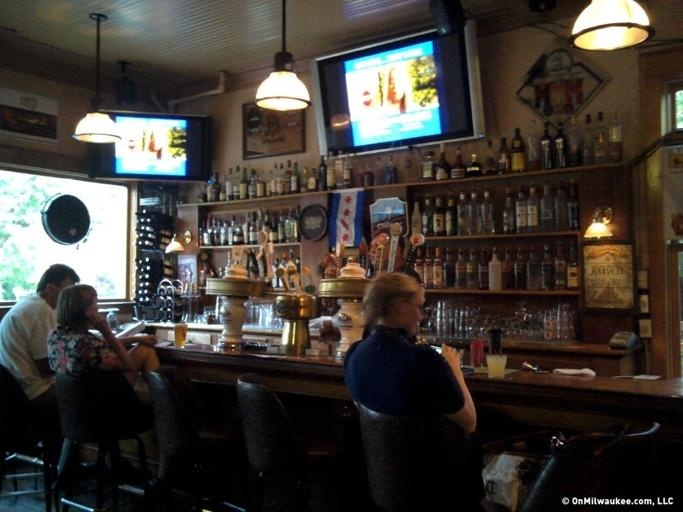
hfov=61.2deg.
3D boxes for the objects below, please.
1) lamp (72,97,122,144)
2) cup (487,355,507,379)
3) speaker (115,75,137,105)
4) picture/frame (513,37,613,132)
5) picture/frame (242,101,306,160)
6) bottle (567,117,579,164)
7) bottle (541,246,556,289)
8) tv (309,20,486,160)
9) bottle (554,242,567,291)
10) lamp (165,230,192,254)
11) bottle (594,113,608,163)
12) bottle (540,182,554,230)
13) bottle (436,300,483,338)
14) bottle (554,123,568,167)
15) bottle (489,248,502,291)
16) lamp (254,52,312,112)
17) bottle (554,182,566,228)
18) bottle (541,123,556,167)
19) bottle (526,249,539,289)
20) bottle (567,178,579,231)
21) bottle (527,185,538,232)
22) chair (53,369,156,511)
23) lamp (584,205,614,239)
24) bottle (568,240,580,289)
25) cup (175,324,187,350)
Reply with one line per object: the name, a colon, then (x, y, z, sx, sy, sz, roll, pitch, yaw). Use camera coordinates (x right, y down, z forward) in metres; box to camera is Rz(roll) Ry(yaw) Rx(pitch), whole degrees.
lamp: (-2.262, -1.278, 5.381, 0.368, 0.348, 0.367, 0, 5, -23)
cup: (0.851, 0.607, 3.122, 0.112, 0.125, 0.115, 0, -10, 0)
speaker: (-2.463, -1.885, 6.607, 0.201, 0.291, 0.225, 0, -1, -24)
picture/frame: (2.004, -1.515, 5.160, 0.925, 0.889, 0.127, 7, -2, 36)
picture/frame: (-0.739, -1.401, 6.529, 0.777, 0.643, 0.052, 1, -1, 27)
bottle: (2.053, -1.008, 5.131, 0.125, 0.455, 0.237, -1, -1, 21)
bottle: (1.828, 0.095, 5.139, 0.103, 0.403, 0.160, -1, -1, 19)
tv: (0.611, -1.640, 5.711, 1.359, 0.791, 0.180, -7, 3, 28)
bottle: (1.932, 0.086, 5.103, 0.092, 0.399, 0.105, -1, -1, 15)
lamp: (-1.985, -0.175, 7.036, 0.257, 0.238, 0.308, -3, -2, 45)
bottle: (2.261, -1.025, 5.039, 0.117, 0.463, 0.204, -1, -1, 24)
bottle: (1.838, -0.426, 5.154, 0.141, 0.413, 0.073, 0, -1, -30)
bottle: (1.034, 0.570, 5.205, 0.338, 0.245, 0.335, 0, -7, 0)
bottle: (1.957, -0.971, 5.153, 0.121, 0.411, 0.245, -1, -1, 21)
bottle: (1.402, 0.129, 5.271, 0.125, 0.387, 0.158, -1, -1, 29)
lamp: (-0.433, -1.327, 4.513, 0.494, 0.515, 0.496, 0, -3, 4)
bottle: (1.940, -0.414, 5.139, 0.088, 0.379, 0.151, -1, -1, 44)
bottle: (1.846, -0.987, 5.194, 0.122, 0.454, 0.237, -1, -1, 19)
bottle: (1.720, 0.115, 5.207, 0.103, 0.371, 0.204, -1, -1, 19)
bottle: (2.030, -0.428, 5.092, 0.091, 0.427, 0.174, 0, -1, 12)
bottle: (1.741, -0.405, 5.224, 0.152, 0.367, 0.093, 0, -1, -35)
chair: (-1.575, 1.242, 3.817, 0.555, 1.039, 0.608, 0, -1, -39)
lamp: (2.174, -0.269, 4.892, 0.261, 0.308, 0.265, 2, -3, -28)
bottle: (2.022, 0.079, 5.053, 0.097, 0.407, 0.117, -1, -1, 21)
cup: (-1.169, 0.589, 4.193, 0.133, 0.188, 0.133, 0, -10, 0)
